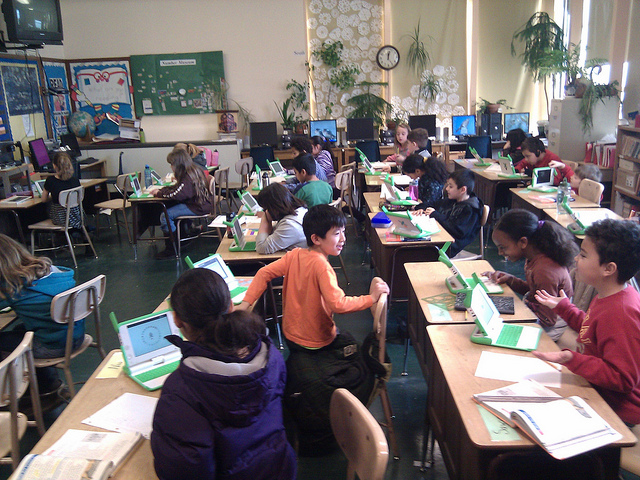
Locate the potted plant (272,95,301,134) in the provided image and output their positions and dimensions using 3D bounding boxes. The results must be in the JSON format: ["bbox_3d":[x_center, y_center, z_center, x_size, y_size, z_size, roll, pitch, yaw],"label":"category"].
[{"bbox_3d":[-0.690,-2.328,9.294,0.434,0.505,0.458,13,-5,12],"label":"potted plant"}]

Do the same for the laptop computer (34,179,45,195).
[{"bbox_3d":[-3.817,-0.720,6.626,0.116,0.100,0.593,-14,22,-28],"label":"laptop computer"}]

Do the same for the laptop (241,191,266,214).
[{"bbox_3d":[-0.679,-0.351,4.764,0.058,0.237,0.247,-37,-1,28],"label":"laptop"}]

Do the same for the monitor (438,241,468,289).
[{"bbox_3d":[0.933,0.172,3.466,0.093,0.174,0.237,-6,14,3],"label":"monitor"}]

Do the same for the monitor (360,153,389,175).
[{"bbox_3d":[0.738,-1.010,6.900,0.270,0.247,0.525,-2,17,-1],"label":"monitor"}]

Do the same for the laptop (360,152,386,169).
[{"bbox_3d":[0.774,-1.129,7.261,0.363,0.147,0.277,6,15,13],"label":"laptop"}]

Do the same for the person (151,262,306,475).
[{"bbox_3d":[-0.440,0.620,2.152,0.600,0.862,0.536,-5,19,-6],"label":"person"}]

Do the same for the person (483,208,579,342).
[{"bbox_3d":[1.340,0.425,3.124,0.542,1.215,0.483,5,15,27],"label":"person"}]

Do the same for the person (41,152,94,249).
[{"bbox_3d":[-3.204,-0.332,6.118,0.445,0.740,0.735,11,23,21],"label":"person"}]

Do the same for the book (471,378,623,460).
[{"bbox_3d":[0.961,0.737,2.098,0.420,0.083,0.482,-13,22,-24],"label":"book"}]

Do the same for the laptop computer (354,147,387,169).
[{"bbox_3d":[0.755,-1.158,7.337,0.397,0.640,0.349,-2,15,4],"label":"laptop computer"}]

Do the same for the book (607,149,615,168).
[{"bbox_3d":[3.846,-1.068,6.468,0.070,0.227,0.198,5,20,23],"label":"book"}]

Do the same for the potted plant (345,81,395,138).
[{"bbox_3d":[0.848,-2.539,9.686,1.088,1.425,0.912,-1,15,-5],"label":"potted plant"}]

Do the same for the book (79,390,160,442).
[{"bbox_3d":[-0.923,0.808,2.281,0.259,0.016,0.303,7,22,7],"label":"book"}]

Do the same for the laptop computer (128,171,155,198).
[{"bbox_3d":[-2.314,-0.689,6.270,0.326,0.266,0.345,0,10,-9],"label":"laptop computer"}]

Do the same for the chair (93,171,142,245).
[{"bbox_3d":[-2.972,-0.457,6.864,0.499,0.868,0.532,-2,12,-26],"label":"chair"}]

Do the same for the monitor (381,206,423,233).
[{"bbox_3d":[0.701,-0.156,4.039,0.183,0.138,0.215,-15,19,-20],"label":"monitor"}]

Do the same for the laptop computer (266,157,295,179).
[{"bbox_3d":[-0.598,-0.974,6.888,0.299,0.217,0.346,7,19,13],"label":"laptop computer"}]

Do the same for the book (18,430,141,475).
[{"bbox_3d":[-1.028,0.889,2.055,0.412,0.079,0.284,1,20,10],"label":"book"}]

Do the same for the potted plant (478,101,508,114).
[{"bbox_3d":[3.182,-2.454,9.105,0.438,0.194,0.624,7,22,27],"label":"potted plant"}]

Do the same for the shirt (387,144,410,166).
[{"bbox_3d":[1.172,-1.282,7.406,0.311,0.243,1.136,0,20,8],"label":"shirt"}]

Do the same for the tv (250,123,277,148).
[{"bbox_3d":[-1.082,-1.945,9.153,0.550,0.525,0.082,0,19,1],"label":"tv"}]

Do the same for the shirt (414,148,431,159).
[{"bbox_3d":[1.350,-1.129,6.473,0.195,0.100,0.588,1,20,11],"label":"shirt"}]

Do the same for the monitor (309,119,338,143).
[{"bbox_3d":[0.039,-2.002,9.136,0.477,0.403,0.290,-6,19,-7],"label":"monitor"}]

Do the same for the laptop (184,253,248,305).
[{"bbox_3d":[-0.604,0.195,3.158,0.350,0.257,0.396,-10,6,11],"label":"laptop"}]

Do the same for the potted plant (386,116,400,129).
[{"bbox_3d":[1.388,-2.210,9.326,0.186,0.148,0.199,2,21,11],"label":"potted plant"}]

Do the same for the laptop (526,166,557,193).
[{"bbox_3d":[2.501,-0.699,5.501,0.281,0.226,0.291,-7,13,-20],"label":"laptop"}]

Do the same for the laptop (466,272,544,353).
[{"bbox_3d":[0.966,0.422,2.636,0.375,0.292,0.372,7,19,19],"label":"laptop"}]

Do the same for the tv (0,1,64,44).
[{"bbox_3d":[-4.004,-2.996,6.794,0.252,0.558,0.886,2,20,13],"label":"tv"}]

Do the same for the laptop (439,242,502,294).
[{"bbox_3d":[0.928,0.212,3.072,0.300,0.244,0.310,-3,18,-1],"label":"laptop"}]

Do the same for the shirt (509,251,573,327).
[{"bbox_3d":[1.321,0.233,3.005,0.303,0.488,0.363,2,19,1],"label":"shirt"}]

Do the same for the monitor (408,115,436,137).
[{"bbox_3d":[1.925,-2.115,9.228,0.513,0.403,0.266,-1,19,7],"label":"monitor"}]

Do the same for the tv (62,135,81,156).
[{"bbox_3d":[-4.107,-1.552,8.023,0.075,0.371,0.245,-4,12,21],"label":"tv"}]

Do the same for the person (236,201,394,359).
[{"bbox_3d":[-0.096,0.445,3.075,0.868,1.326,0.522,2,18,7],"label":"person"}]

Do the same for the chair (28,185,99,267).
[{"bbox_3d":[-3.260,-0.204,6.103,0.659,0.958,0.642,12,17,26],"label":"chair"}]

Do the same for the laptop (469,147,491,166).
[{"bbox_3d":[2.380,-1.208,7.350,0.270,0.254,0.331,-1,9,-3],"label":"laptop"}]

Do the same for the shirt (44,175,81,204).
[{"bbox_3d":[-3.214,-0.636,6.075,0.395,0.317,0.350,-15,22,-30],"label":"shirt"}]

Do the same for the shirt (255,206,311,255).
[{"bbox_3d":[-0.296,-0.035,3.855,0.336,0.380,0.383,-1,18,-12],"label":"shirt"}]

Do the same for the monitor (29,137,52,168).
[{"bbox_3d":[-4.144,-1.270,7.167,0.050,0.376,0.497,-19,17,-12],"label":"monitor"}]

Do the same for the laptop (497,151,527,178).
[{"bbox_3d":[2.487,-0.961,6.311,0.271,0.302,0.332,-1,8,-10],"label":"laptop"}]

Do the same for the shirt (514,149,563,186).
[{"bbox_3d":[2.770,-0.912,5.977,0.429,0.531,0.569,-3,18,-13],"label":"shirt"}]

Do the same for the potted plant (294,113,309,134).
[{"bbox_3d":[-0.386,-2.167,9.235,0.310,0.351,0.323,-1,7,-5],"label":"potted plant"}]

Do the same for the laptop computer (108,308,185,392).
[{"bbox_3d":[-0.824,0.537,2.568,0.440,0.293,0.440,-6,13,-44],"label":"laptop computer"}]

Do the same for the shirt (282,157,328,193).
[{"bbox_3d":[-0.162,-0.763,6.090,0.611,0.505,0.509,9,19,27],"label":"shirt"}]

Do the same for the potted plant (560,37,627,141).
[{"bbox_3d":[3.927,-2.040,7.168,0.804,1.273,0.809,5,22,-5],"label":"potted plant"}]

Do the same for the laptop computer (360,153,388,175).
[{"bbox_3d":[0.737,-1.011,6.906,0.270,0.245,0.524,-2,16,0],"label":"laptop computer"}]

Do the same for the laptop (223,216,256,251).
[{"bbox_3d":[-0.648,-0.039,3.953,0.242,0.234,0.239,2,17,0],"label":"laptop"}]

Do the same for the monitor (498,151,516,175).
[{"bbox_3d":[2.404,-1.003,6.270,0.197,0.211,0.279,-14,13,-8],"label":"monitor"}]

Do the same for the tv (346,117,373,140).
[{"bbox_3d":[0.735,-2.053,9.139,0.374,0.307,0.054,0,6,2],"label":"tv"}]

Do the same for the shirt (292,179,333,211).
[{"bbox_3d":[-0.056,-0.467,4.994,0.391,0.244,0.277,-11,21,-21],"label":"shirt"}]

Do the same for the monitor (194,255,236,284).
[{"bbox_3d":[-0.698,0.181,3.245,0.168,0.173,0.245,-11,11,40],"label":"monitor"}]

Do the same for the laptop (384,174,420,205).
[{"bbox_3d":[0.822,-0.576,4.970,0.231,0.268,0.391,-2,10,-5],"label":"laptop"}]
